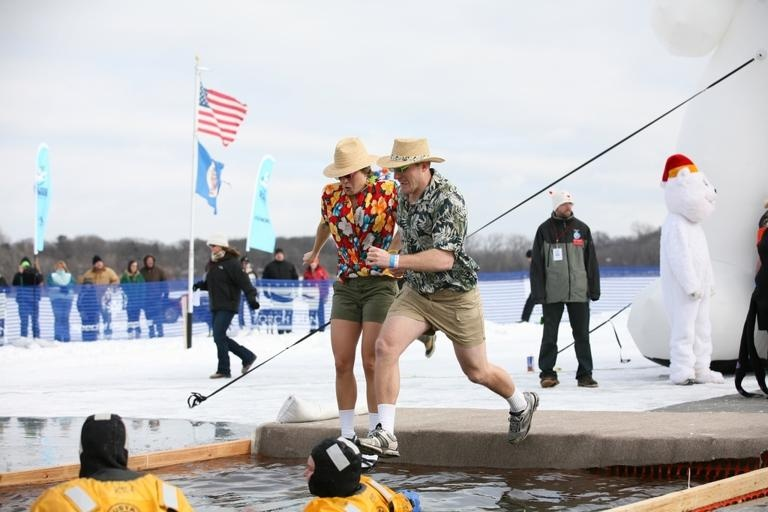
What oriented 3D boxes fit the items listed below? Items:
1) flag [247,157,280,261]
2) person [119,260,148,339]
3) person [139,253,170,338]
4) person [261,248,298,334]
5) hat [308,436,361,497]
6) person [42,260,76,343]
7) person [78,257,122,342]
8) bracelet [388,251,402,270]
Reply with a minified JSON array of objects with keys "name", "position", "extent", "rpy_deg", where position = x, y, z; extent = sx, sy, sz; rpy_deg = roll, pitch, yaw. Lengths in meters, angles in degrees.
[{"name":"flag","position":[-3.871,-1.337,50.803],"extent":[0.629,3.931,0.647],"rpy_deg":[6,10,43]},{"name":"person","position":[-6.959,1.168,45.566],"extent":[0.649,2.139,0.762],"rpy_deg":[-1,-3,-12]},{"name":"person","position":[-6.363,1.106,45.886],"extent":[0.741,2.243,0.703],"rpy_deg":[1,-2,19]},{"name":"person","position":[-2.989,1.077,46.982],"extent":[1.076,2.614,0.871],"rpy_deg":[0,2,0]},{"name":"hat","position":[-0.944,4.067,31.611],"extent":[0.868,1.072,1.122],"rpy_deg":[0,19,-17]},{"name":"person","position":[-8.805,1.234,44.917],"extent":[0.873,2.203,0.805],"rpy_deg":[4,-4,9]},{"name":"person","position":[-7.871,1.168,45.179],"extent":[0.925,2.274,0.828],"rpy_deg":[1,-4,8]},{"name":"bracelet","position":[0.218,0.079,32.678],"extent":[0.241,0.412,0.301],"rpy_deg":[0,-13,-4]}]
